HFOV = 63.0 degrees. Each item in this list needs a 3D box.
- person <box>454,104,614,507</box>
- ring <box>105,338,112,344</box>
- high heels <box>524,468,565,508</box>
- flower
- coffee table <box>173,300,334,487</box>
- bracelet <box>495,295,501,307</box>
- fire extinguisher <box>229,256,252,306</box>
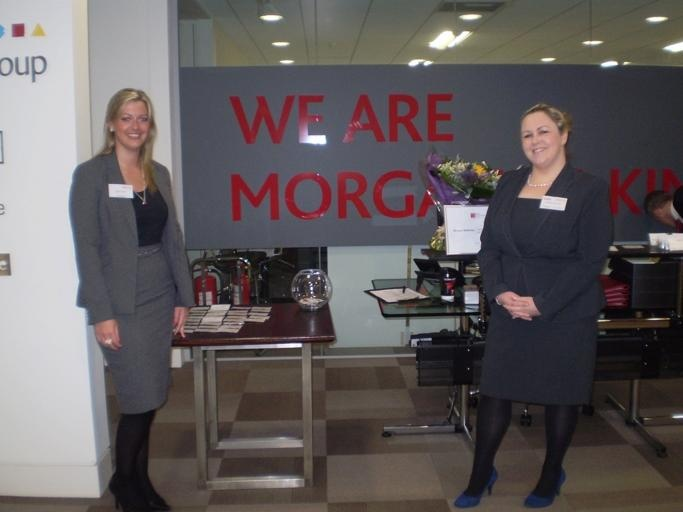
[{"bbox_3d":[1.087,0.312,3.165,0.771,2.271,0.548,2,14,12],"label":"person"},{"bbox_3d":[-1.222,0.449,2.933,0.034,0.030,0.021,6,10,4],"label":"ring"},{"bbox_3d":[1.227,1.399,3.380,0.384,0.157,0.127,7,-8,-40],"label":"high heels"},{"bbox_3d":[0.790,-0.339,3.824,0.566,0.613,0.562,-4,16,-9],"label":"flower"},{"bbox_3d":[-0.526,0.874,3.717,1.062,0.919,1.093,-1,4,-1],"label":"coffee table"},{"bbox_3d":[0.882,0.249,3.139,0.019,0.039,0.057,1,-6,0],"label":"bracelet"},{"bbox_3d":[-0.933,0.232,5.106,0.212,0.438,0.122,0,13,4],"label":"fire extinguisher"}]
